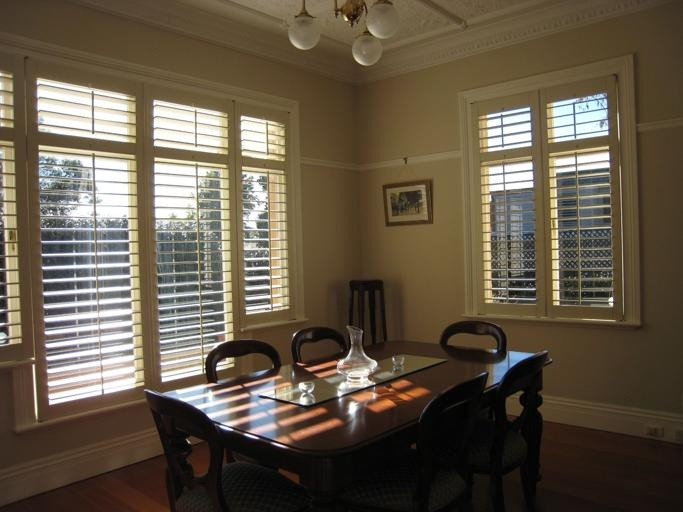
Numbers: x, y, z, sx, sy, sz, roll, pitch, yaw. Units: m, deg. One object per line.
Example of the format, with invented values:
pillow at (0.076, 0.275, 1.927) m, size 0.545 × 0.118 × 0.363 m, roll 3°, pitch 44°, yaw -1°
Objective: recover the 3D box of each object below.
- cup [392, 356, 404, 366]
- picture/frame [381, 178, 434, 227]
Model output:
cup at (0.352, 0.663, 3.422) m, size 0.052 × 0.040 × 0.050 m, roll -1°, pitch -1°, yaw 0°
picture/frame at (0.666, -0.526, 5.264) m, size 0.431 × 0.390 × 0.030 m, roll 5°, pitch 9°, yaw 39°
